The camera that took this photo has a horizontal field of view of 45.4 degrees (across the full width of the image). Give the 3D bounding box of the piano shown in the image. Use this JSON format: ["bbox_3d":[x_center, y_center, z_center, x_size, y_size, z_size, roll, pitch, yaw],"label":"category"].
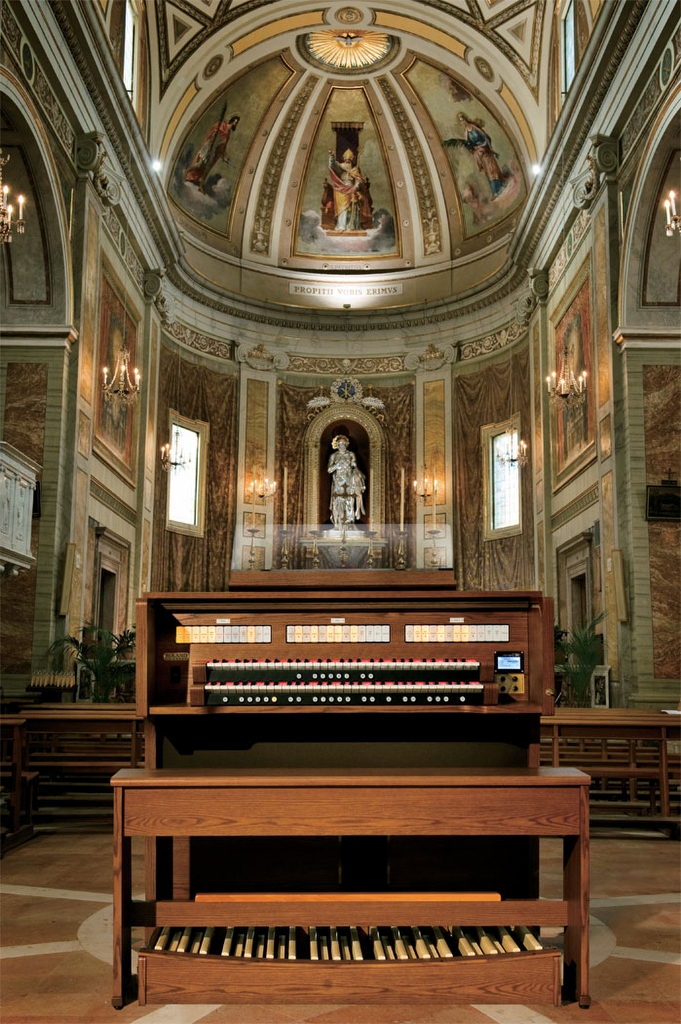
[{"bbox_3d":[0.072,1.072,3.592,1.324,1.549,1.840,0,-16,0],"label":"piano"}]

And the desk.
[{"bbox_3d":[0.061,1.332,3.077,1.630,0.779,1.256,-1,-9,7],"label":"desk"}]
